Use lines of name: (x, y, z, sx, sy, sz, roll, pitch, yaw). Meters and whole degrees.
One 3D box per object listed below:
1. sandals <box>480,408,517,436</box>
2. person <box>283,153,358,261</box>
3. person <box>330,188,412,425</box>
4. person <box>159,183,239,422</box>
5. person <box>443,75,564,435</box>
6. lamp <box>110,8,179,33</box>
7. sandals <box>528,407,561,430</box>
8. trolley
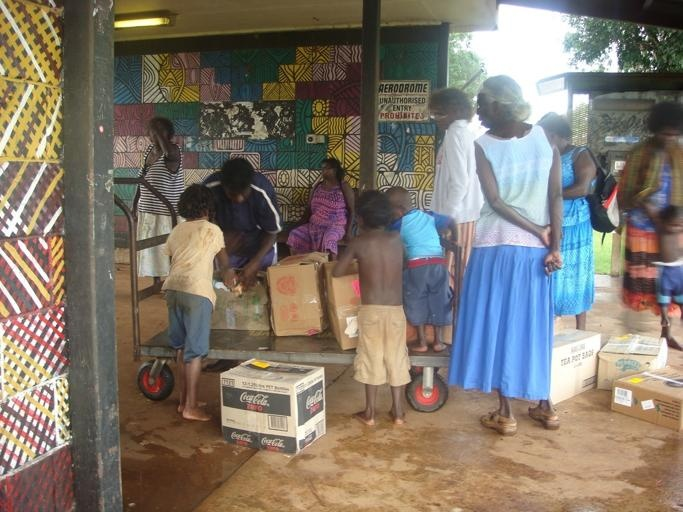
sandals: (1.093, 1.158, 4.349, 0.112, 0.120, 0.262, -6, 11, -31)
person: (-0.224, -0.591, 8.013, 0.810, 1.353, 0.852, -8, 15, -43)
person: (0.236, 0.358, 4.423, 0.474, 1.615, 0.511, -3, 13, -11)
person: (-1.067, 0.329, 4.524, 0.465, 1.668, 0.556, 1, 13, 4)
person: (1.108, 0.018, 4.154, 0.677, 2.398, 0.533, 4, 14, 17)
lamp: (-2.626, -3.216, 8.383, 0.909, 0.152, 0.345, 4, 13, 16)
sandals: (1.445, 1.134, 4.426, 0.087, 0.111, 0.255, -3, 12, -13)
trolley: (-0.381, 0.333, 5.079, 2.514, 1.669, 1.282, 1, 3, 3)
